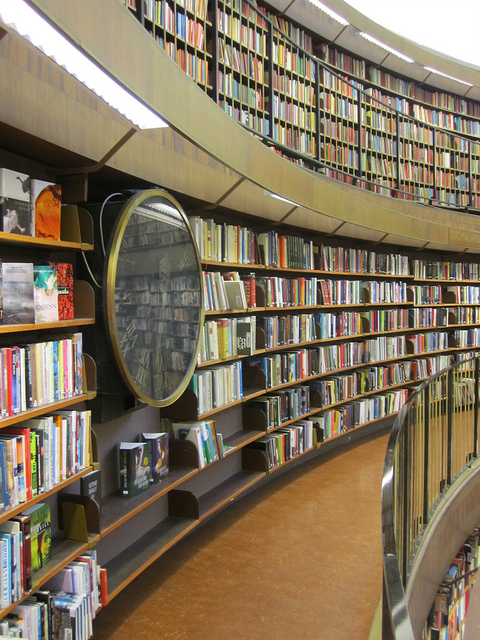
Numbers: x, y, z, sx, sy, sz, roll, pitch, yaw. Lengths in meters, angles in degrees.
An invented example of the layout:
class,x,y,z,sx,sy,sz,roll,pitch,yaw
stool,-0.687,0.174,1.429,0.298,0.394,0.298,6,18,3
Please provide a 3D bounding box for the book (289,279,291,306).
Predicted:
class,x,y,z,sx,sy,sz,roll,pitch,yaw
book,0.406,-0.218,4.256,0.012,0.174,0.031,1,0,33

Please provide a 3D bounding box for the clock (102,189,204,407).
class,x,y,z,sx,sy,sz,roll,pitch,yaw
clock,-0.370,-0.105,2.370,0.069,0.980,0.912,0,2,18

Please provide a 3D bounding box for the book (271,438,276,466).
class,x,y,z,sx,sy,sz,roll,pitch,yaw
book,0.251,1.014,3.951,0.011,0.171,0.052,1,0,36

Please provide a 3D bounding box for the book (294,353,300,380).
class,x,y,z,sx,sy,sz,roll,pitch,yaw
book,0.478,0.393,4.351,0.027,0.189,0.084,1,0,18

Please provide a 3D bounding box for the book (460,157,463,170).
class,x,y,z,sx,sy,sz,roll,pitch,yaw
book,3.639,-2.573,8.501,0.087,0.191,0.026,0,0,-43

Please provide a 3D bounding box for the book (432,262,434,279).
class,x,y,z,sx,sy,sz,roll,pitch,yaw
book,2.579,-0.665,6.906,0.019,0.211,0.050,1,0,41

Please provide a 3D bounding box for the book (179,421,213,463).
class,x,y,z,sx,sy,sz,roll,pitch,yaw
book,-0.244,0.712,2.981,0.163,0.176,0.096,1,0,-7

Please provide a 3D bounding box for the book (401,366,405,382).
class,x,y,z,sx,sy,sz,roll,pitch,yaw
book,1.951,0.642,6.192,0.016,0.174,0.059,1,0,44

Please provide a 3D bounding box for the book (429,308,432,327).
class,x,y,z,sx,sy,sz,roll,pitch,yaw
book,2.493,-0.029,6.766,0.035,0.238,0.138,1,0,18

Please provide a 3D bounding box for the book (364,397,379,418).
class,x,y,z,sx,sy,sz,roll,pitch,yaw
book,1.430,0.952,5.689,0.159,0.250,0.238,-2,-2,12

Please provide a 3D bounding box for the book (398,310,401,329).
class,x,y,z,sx,sy,sz,roll,pitch,yaw
book,1.919,-0.011,6.237,0.015,0.211,0.079,1,0,35

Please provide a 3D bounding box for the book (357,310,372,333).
class,x,y,z,sx,sy,sz,roll,pitch,yaw
book,1.366,0.020,5.601,0.212,0.219,0.065,0,0,-45

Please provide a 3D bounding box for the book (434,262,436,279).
class,x,y,z,sx,sy,sz,roll,pitch,yaw
book,2.614,-0.668,6.934,0.019,0.213,0.051,1,0,28

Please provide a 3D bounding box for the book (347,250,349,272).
class,x,y,z,sx,sy,sz,roll,pitch,yaw
book,1.104,-0.609,5.302,0.015,0.198,0.046,1,0,12

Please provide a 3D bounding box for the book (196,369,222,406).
class,x,y,z,sx,sy,sz,roll,pitch,yaw
book,-0.193,0.398,3.029,0.104,0.217,0.203,1,-2,-22

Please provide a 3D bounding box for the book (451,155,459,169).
class,x,y,z,sx,sy,sz,roll,pitch,yaw
book,3.508,-2.582,8.436,0.158,0.220,0.018,1,0,-20

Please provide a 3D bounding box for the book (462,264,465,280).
class,x,y,z,sx,sy,sz,roll,pitch,yaw
book,3.203,-0.695,7.409,0.021,0.216,0.059,1,0,44

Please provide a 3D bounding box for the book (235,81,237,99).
class,x,y,z,sx,sy,sz,roll,pitch,yaw
book,-0.052,-2.336,5.243,0.012,0.135,0.037,1,0,31

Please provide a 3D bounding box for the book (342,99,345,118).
class,x,y,z,sx,sy,sz,roll,pitch,yaw
book,1.379,-2.833,6.920,0.019,0.214,0.053,1,0,40

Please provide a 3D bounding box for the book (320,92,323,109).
class,x,y,z,sx,sy,sz,roll,pitch,yaw
book,1.033,-2.827,6.627,0.036,0.185,0.116,1,0,6

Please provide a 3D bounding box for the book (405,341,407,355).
class,x,y,z,sx,sy,sz,roll,pitch,yaw
book,2.049,0.349,6.394,0.026,0.137,0.037,1,0,15

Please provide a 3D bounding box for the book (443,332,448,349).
class,x,y,z,sx,sy,sz,roll,pitch,yaw
book,2.793,0.278,7.041,0.106,0.211,0.207,-1,-2,24

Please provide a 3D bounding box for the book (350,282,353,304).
class,x,y,z,sx,sy,sz,roll,pitch,yaw
book,1.145,-0.276,5.311,0.015,0.192,0.049,1,0,25

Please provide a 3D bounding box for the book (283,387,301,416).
class,x,y,z,sx,sy,sz,roll,pitch,yaw
book,0.460,0.691,4.389,0.097,0.191,0.172,1,0,5

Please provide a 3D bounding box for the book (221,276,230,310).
class,x,y,z,sx,sy,sz,roll,pitch,yaw
book,-0.097,-0.164,3.235,0.049,0.151,0.111,1,0,1

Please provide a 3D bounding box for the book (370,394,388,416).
class,x,y,z,sx,sy,sz,roll,pitch,yaw
book,1.588,0.980,5.911,0.129,0.199,0.184,0,1,-22

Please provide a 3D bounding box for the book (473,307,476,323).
class,x,y,z,sx,sy,sz,roll,pitch,yaw
book,3.379,-0.067,7.454,0.028,0.219,0.095,1,0,40

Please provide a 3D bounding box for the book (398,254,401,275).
class,x,y,z,sx,sy,sz,roll,pitch,yaw
book,1.932,-0.666,6.284,0.028,0.225,0.077,1,0,21

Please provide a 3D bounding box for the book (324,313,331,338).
class,x,y,z,sx,sy,sz,roll,pitch,yaw
book,0.825,0.057,4.884,0.023,0.197,0.126,1,0,27

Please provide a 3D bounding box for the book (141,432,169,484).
class,x,y,z,sx,sy,sz,roll,pitch,yaw
book,-0.426,0.695,2.648,0.078,0.232,0.220,0,0,17

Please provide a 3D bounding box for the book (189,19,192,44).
class,x,y,z,sx,sy,sz,roll,pitch,yaw
book,-0.468,-2.659,4.758,0.017,0.164,0.047,1,0,21

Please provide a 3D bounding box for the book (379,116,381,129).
class,x,y,z,sx,sy,sz,roll,pitch,yaw
book,2.031,-2.869,7.525,0.010,0.160,0.040,1,0,39

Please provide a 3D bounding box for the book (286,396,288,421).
class,x,y,z,sx,sy,sz,roll,pitch,yaw
book,0.371,0.704,4.171,0.006,0.139,0.029,1,0,20

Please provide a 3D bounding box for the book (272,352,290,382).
class,x,y,z,sx,sy,sz,roll,pitch,yaw
book,0.328,0.381,4.203,0.135,0.207,0.195,0,4,5

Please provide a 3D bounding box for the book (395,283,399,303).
class,x,y,z,sx,sy,sz,roll,pitch,yaw
book,1.867,-0.329,6.173,0.023,0.216,0.119,1,0,30

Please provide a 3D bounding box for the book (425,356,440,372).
class,x,y,z,sx,sy,sz,roll,pitch,yaw
book,2.594,0.565,6.906,0.155,0.231,0.211,-4,6,-43

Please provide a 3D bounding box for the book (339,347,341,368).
class,x,y,z,sx,sy,sz,roll,pitch,yaw
book,0.976,0.374,5.063,0.010,0.165,0.030,1,0,30

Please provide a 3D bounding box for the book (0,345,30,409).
class,x,y,z,sx,sy,sz,roll,pitch,yaw
book,-0.658,0.168,1.492,0.086,0.170,0.158,1,-3,-40

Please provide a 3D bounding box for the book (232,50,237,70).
class,x,y,z,sx,sy,sz,roll,pitch,yaw
book,-0.066,-2.631,5.203,0.042,0.143,0.013,0,0,-32

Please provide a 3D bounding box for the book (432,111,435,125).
class,x,y,z,sx,sy,sz,roll,pitch,yaw
book,3.180,-3.331,8.507,0.022,0.214,0.060,1,0,35

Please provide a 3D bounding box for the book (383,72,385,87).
class,x,y,z,sx,sy,sz,roll,pitch,yaw
book,2.198,-3.696,7.926,0.024,0.209,0.069,1,0,9

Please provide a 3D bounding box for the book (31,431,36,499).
class,x,y,z,sx,sy,sz,roll,pitch,yaw
book,-0.639,0.441,1.586,0.014,0.189,0.033,0,0,-23

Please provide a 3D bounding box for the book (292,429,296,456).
class,x,y,z,sx,sy,sz,roll,pitch,yaw
book,0.444,1.006,4.223,0.012,0.175,0.048,1,0,20

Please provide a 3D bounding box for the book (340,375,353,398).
class,x,y,z,sx,sy,sz,roll,pitch,yaw
book,1.093,0.664,5.173,0.038,0.202,0.101,1,0,44

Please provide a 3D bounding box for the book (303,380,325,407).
class,x,y,z,sx,sy,sz,roll,pitch,yaw
book,0.662,0.674,4.711,0.209,0.201,0.152,1,0,17

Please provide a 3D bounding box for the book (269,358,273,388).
class,x,y,z,sx,sy,sz,roll,pitch,yaw
book,0.231,0.401,3.951,0.025,0.179,0.038,1,0,18

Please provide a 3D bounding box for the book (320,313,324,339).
class,x,y,z,sx,sy,sz,roll,pitch,yaw
book,0.758,0.062,4.795,0.019,0.202,0.072,1,0,33

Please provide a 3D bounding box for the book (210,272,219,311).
class,x,y,z,sx,sy,sz,roll,pitch,yaw
book,-0.162,-0.173,3.091,0.033,0.233,0.194,-12,5,1

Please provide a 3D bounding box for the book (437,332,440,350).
class,x,y,z,sx,sy,sz,roll,pitch,yaw
book,2.656,0.277,6.922,0.025,0.220,0.089,1,0,22

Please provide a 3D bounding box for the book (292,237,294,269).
class,x,y,z,sx,sy,sz,roll,pitch,yaw
book,0.434,-0.558,4.277,0.007,0.210,0.033,1,0,24

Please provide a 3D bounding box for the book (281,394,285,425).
class,x,y,z,sx,sy,sz,roll,pitch,yaw
book,0.340,0.709,4.124,0.012,0.179,0.041,1,0,31
